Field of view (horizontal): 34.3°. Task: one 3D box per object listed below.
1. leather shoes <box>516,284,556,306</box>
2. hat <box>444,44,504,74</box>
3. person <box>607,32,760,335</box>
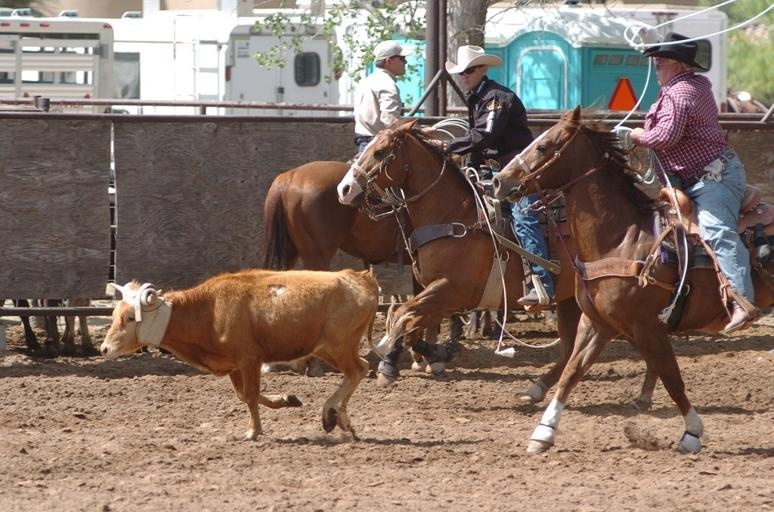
[{"bbox_3d":[1.613,0.464,13.806,0.501,0.178,0.162,1,-1,-7],"label":"leather shoes"},{"bbox_3d":[1.032,-2.317,14.270,0.579,0.203,0.474,-7,-12,-41],"label":"hat"},{"bbox_3d":[3.128,-0.753,12.475,0.796,2.869,1.516,-13,21,-38],"label":"person"}]
